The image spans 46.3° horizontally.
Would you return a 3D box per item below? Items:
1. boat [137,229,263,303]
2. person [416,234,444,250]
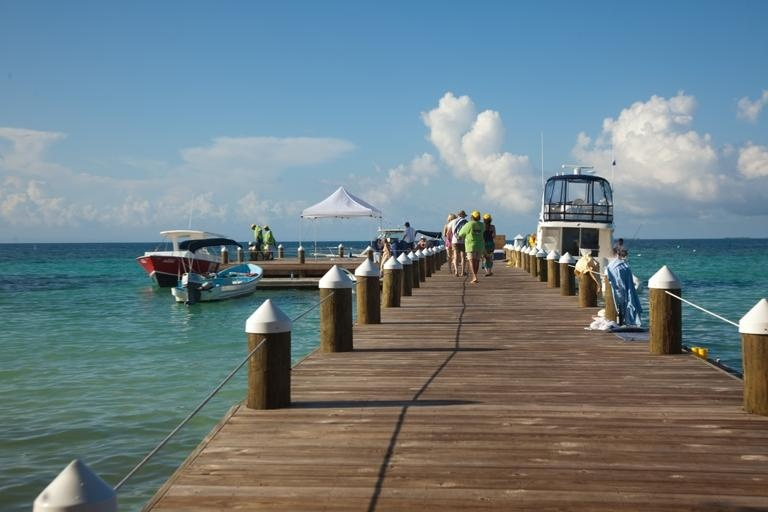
[{"bbox_3d":[-7.972,0.636,39.096,3.346,3.346,10.122,-5,-1,15],"label":"boat"},{"bbox_3d":[2.179,-0.610,42.175,0.782,0.608,1.394,-4,-1,21],"label":"person"}]
